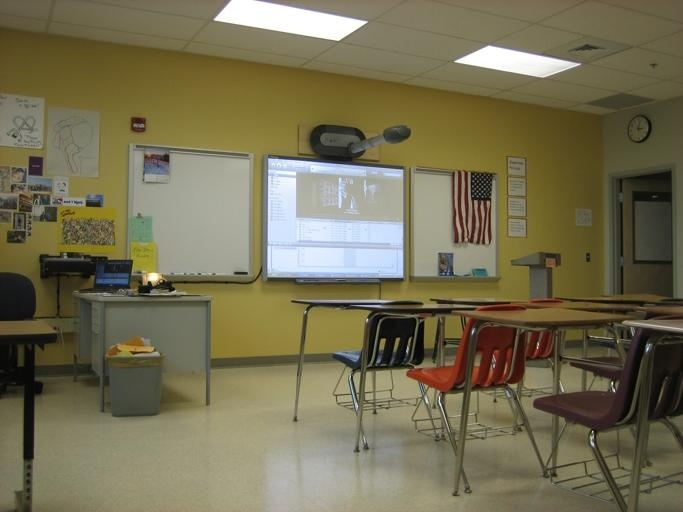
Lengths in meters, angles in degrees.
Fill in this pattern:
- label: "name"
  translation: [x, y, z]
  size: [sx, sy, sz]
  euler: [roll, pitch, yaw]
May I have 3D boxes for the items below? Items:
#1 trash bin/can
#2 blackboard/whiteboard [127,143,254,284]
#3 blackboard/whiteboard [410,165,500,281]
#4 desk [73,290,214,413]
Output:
- label: "trash bin/can"
  translation: [-1.605, 1.015, 4.461]
  size: [0.503, 0.585, 0.470]
  euler: [1, 0, -16]
- label: "blackboard/whiteboard"
  translation: [-1.770, -0.474, 6.026]
  size: [1.699, 1.766, 0.239]
  euler: [1, 0, -23]
- label: "blackboard/whiteboard"
  translation: [1.494, -0.445, 7.326]
  size: [1.684, 1.695, 0.131]
  euler: [1, 1, -21]
- label: "desk"
  translation: [-1.804, 1.089, 4.852]
  size: [0.947, 0.801, 1.666]
  euler: [3, -5, -21]
